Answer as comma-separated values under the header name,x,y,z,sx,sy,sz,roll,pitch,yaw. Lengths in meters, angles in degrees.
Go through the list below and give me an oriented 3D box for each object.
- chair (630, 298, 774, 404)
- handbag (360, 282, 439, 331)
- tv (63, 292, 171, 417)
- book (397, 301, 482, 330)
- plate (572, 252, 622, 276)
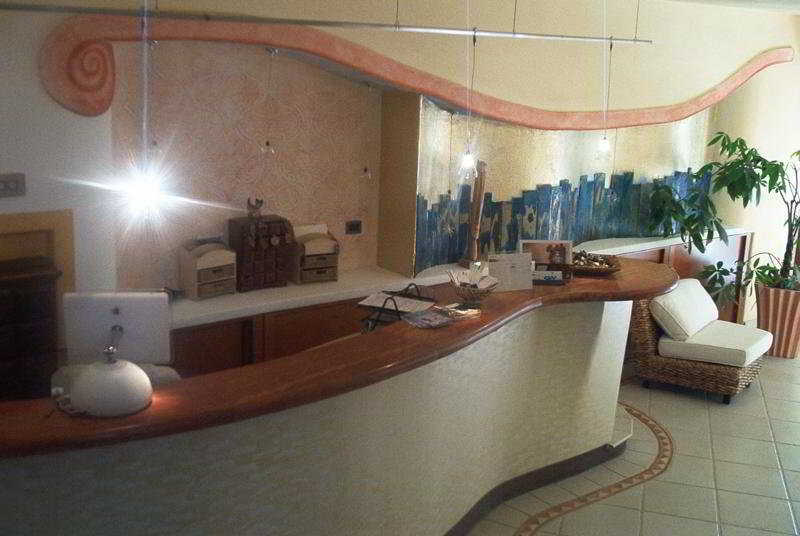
name,x,y,z,sx,sy,sz,roll,pitch,yaw
chair,3.423,0.935,6.409,1.220,1.026,1.239,7,13,37
handbag,-0.059,0.274,4.232,0.417,0.158,0.425,-21,22,-32
tv,-1.575,0.407,3.005,0.555,0.486,0.618,6,16,0
book,0.287,0.337,3.931,0.560,0.091,0.356,-4,6,-27
plate,1.720,-0.042,4.956,0.429,0.195,0.417,0,6,9
